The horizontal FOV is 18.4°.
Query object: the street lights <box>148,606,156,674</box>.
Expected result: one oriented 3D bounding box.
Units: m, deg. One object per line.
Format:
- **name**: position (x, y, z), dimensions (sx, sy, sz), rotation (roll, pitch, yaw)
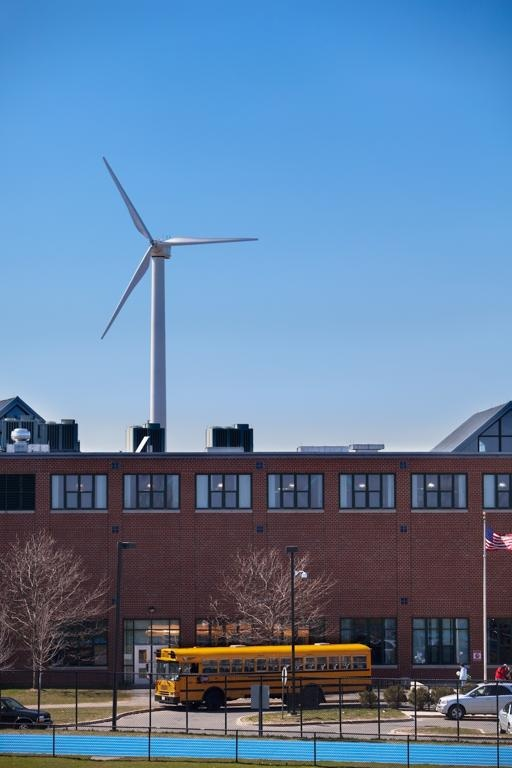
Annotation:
- **street lights**: position (-5.603, 13.297, 85.018), dimensions (0.321, 2.872, 0.317), rotation (-7, -12, 26)
